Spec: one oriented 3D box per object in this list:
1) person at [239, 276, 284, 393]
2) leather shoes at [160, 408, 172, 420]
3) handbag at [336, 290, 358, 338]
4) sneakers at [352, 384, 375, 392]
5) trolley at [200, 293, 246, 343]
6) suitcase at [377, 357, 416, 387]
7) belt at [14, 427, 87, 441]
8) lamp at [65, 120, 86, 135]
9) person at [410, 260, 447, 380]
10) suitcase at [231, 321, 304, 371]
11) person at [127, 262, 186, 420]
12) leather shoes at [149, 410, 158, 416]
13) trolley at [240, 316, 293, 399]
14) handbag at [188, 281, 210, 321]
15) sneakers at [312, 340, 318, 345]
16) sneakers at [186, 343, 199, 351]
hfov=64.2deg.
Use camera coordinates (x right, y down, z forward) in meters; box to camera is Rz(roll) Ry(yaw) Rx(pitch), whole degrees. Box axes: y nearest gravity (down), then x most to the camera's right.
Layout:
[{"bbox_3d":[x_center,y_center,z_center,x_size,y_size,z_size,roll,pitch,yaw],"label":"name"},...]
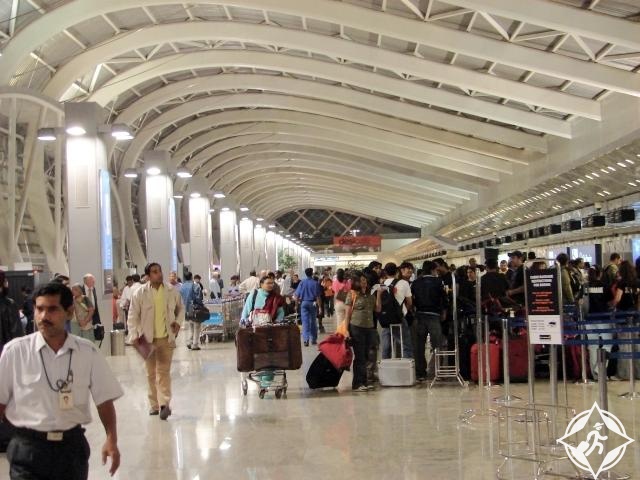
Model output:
[{"bbox_3d":[-1.097,1.721,9.951,1.229,0.663,2.645,3,34,-11],"label":"person"},{"bbox_3d":[-2.394,2.658,7.838,0.136,0.203,0.214,-1,-4,-14],"label":"leather shoes"},{"bbox_3d":[0.521,1.417,9.719,0.416,0.864,0.373,-2,-4,1],"label":"handbag"},{"bbox_3d":[0.812,2.771,9.529,0.409,0.120,0.238,-2,-5,-6],"label":"sneakers"},{"bbox_3d":[-3.404,2.766,17.707,0.741,0.979,2.383,1,0,5],"label":"trolley"},{"bbox_3d":[1.497,2.559,9.954,0.599,0.354,0.576,-2,-3,8],"label":"suitcase"},{"bbox_3d":[-1.590,1.140,2.985,0.174,0.038,0.171,3,-7,-5],"label":"belt"},{"bbox_3d":[-7.248,-3.284,15.025,0.585,0.288,0.576,-1,-5,-9],"label":"lamp"},{"bbox_3d":[2.213,1.638,10.264,0.684,2.426,0.699,-3,-4,6],"label":"person"},{"bbox_3d":[-0.783,2.043,9.609,1.297,0.811,0.784,-7,-14,15],"label":"suitcase"},{"bbox_3d":[-2.570,1.570,7.986,0.804,2.404,0.587,-1,-4,-16],"label":"person"},{"bbox_3d":[-2.656,2.768,8.114,0.118,0.069,0.068,3,-8,7],"label":"leather shoes"},{"bbox_3d":[-1.017,2.153,9.431,1.416,1.596,1.024,0,-17,-6],"label":"trolley"},{"bbox_3d":[-3.795,1.970,15.809,0.557,1.218,0.748,0,-5,-25],"label":"handbag"},{"bbox_3d":[-0.187,3.431,17.010,0.180,0.116,0.098,-2,-14,-2],"label":"sneakers"},{"bbox_3d":[-3.981,3.430,16.309,0.615,0.220,0.182,1,3,-12],"label":"sneakers"}]
